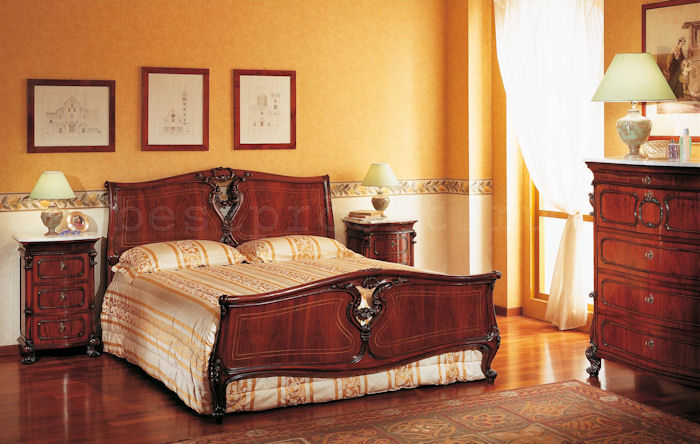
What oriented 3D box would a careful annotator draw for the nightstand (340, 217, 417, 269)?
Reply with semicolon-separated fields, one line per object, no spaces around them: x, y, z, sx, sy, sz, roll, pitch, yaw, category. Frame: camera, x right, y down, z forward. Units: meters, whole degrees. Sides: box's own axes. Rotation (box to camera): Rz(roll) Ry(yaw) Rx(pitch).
0.389;0.362;6.996;0.840;0.785;0.553;-4;6;-28;nightstand

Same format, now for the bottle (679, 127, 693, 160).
2.843;-0.655;4.787;0.091;0.272;0.188;4;10;28;bottle

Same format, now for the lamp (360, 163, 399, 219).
0.378;-0.380;7.011;0.485;0.674;0.475;8;10;40;lamp

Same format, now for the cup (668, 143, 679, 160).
2.752;-0.602;4.795;0.081;0.145;0.050;8;12;42;cup

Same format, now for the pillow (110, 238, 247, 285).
-1.765;0.366;5.877;0.904;0.163;0.556;-4;11;-28;pillow

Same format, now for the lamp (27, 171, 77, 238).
-3.078;-0.159;5.870;0.448;0.582;0.443;-2;-4;26;lamp

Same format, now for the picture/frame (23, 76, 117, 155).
-3.028;-1.151;6.046;0.986;0.787;0.036;-1;3;-22;picture/frame

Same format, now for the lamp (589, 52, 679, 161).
2.578;-1.064;5.163;0.477;0.950;0.507;-7;11;-36;lamp

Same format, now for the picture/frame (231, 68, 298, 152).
-1.003;-1.325;6.708;0.736;0.931;0.166;-2;9;-11;picture/frame
